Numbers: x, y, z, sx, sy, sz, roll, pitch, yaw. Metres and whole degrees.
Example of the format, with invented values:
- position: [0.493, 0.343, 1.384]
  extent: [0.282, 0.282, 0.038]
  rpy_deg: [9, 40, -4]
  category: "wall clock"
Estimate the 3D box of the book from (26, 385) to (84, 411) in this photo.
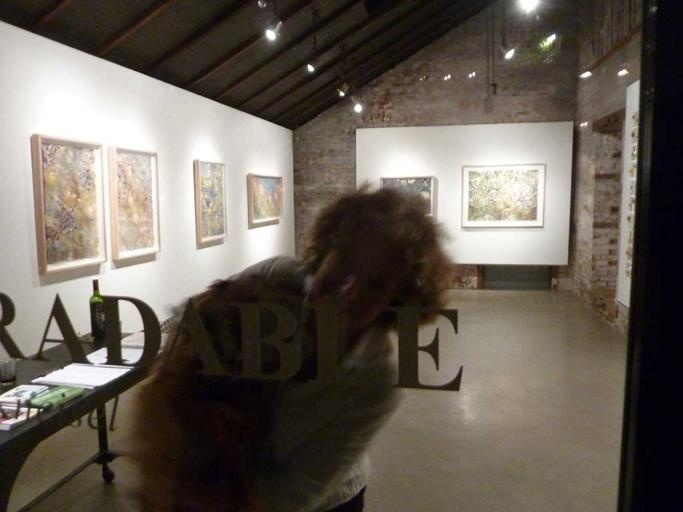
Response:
- position: [-1.025, 0.515, 1.901]
  extent: [0.191, 0.082, 0.033]
  rpy_deg: [0, 6, 3]
  category: "book"

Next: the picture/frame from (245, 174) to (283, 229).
- position: [-0.226, -0.160, 1.578]
  extent: [0.137, 0.200, 0.031]
  rpy_deg: [1, 4, 2]
  category: "picture/frame"

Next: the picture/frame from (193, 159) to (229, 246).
- position: [-0.410, -0.171, 1.662]
  extent: [0.025, 0.244, 0.094]
  rpy_deg: [6, 9, 42]
  category: "picture/frame"

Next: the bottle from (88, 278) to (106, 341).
- position: [-0.842, 0.198, 1.832]
  extent: [0.091, 0.230, 0.028]
  rpy_deg: [4, 7, 34]
  category: "bottle"
